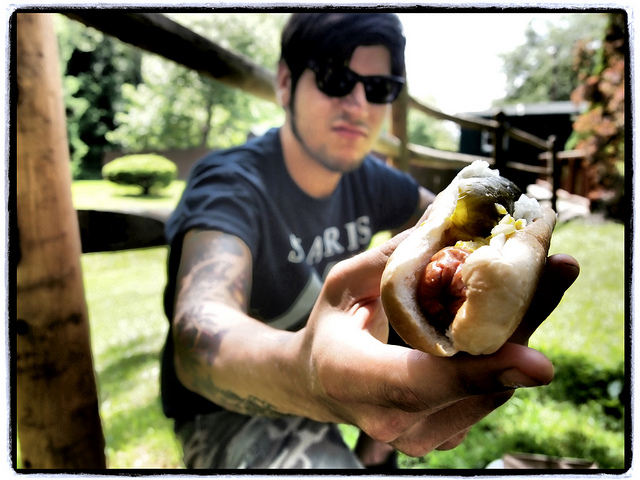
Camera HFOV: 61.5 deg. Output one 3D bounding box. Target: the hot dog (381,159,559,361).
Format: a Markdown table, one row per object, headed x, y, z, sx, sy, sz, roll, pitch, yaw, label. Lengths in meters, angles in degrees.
| x | y | z | sx | sy | sz | roll | pitch | yaw | label |
| --- | --- | --- | --- | --- | --- | --- | --- | --- | --- |
| 0.830 | 0.039 | 2.686 | 0.533 | 0.449 | 1.185 | 0 | 42 | 43 | hot dog |
